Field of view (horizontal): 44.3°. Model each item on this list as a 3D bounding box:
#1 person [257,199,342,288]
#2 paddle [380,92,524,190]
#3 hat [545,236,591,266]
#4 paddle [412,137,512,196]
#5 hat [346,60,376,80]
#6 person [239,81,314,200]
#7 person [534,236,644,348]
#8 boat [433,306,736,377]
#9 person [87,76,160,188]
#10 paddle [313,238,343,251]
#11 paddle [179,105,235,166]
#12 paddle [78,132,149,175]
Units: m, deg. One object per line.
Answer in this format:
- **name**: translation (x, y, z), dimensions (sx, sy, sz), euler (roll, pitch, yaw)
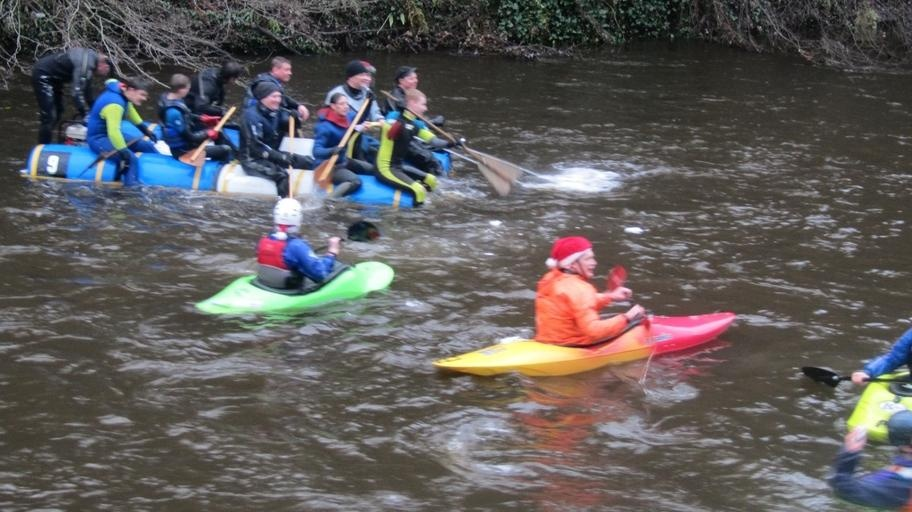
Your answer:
- **person**: translation (-2.487, -0.186, 17.667), dimensions (1.083, 1.464, 0.311), euler (2, 18, -11)
- **paddle**: translation (-0.051, -2.252, 22.257), dimensions (4.596, 0.711, 0.094), euler (20, -1, -13)
- **hat**: translation (1.734, -0.054, 16.836), dimensions (0.591, 0.499, 0.263), euler (5, 16, 5)
- **paddle**: translation (0.095, -1.715, 21.595), dimensions (2.319, 0.662, 0.192), euler (16, 20, -8)
- **hat**: translation (-1.775, -3.588, 21.334), dimensions (0.499, 0.332, 0.374), euler (2, 13, -3)
- **person**: translation (-3.273, -2.188, 20.577), dimensions (1.251, 2.136, 0.629), euler (3, 17, -6)
- **person**: translation (1.957, 0.540, 16.774), dimensions (1.417, 1.655, 0.541), euler (5, 17, 2)
- **boat**: translation (1.280, 1.426, 17.153), dimensions (6.494, 0.625, 1.158), euler (-4, 7, -13)
- **person**: translation (-6.047, -2.351, 20.889), dimensions (1.260, 1.995, 0.975), euler (-4, 18, -29)
- **paddle**: translation (-2.082, -0.196, 18.641), dimensions (0.494, 0.079, 0.319), euler (-2, -6, -25)
- **paddle**: translation (-4.627, -2.278, 21.013), dimensions (0.924, 1.134, 0.756), euler (2, 15, -8)
- **paddle**: translation (-6.308, -1.915, 20.831), dimensions (2.169, 0.186, 0.184), euler (-19, 60, -14)
